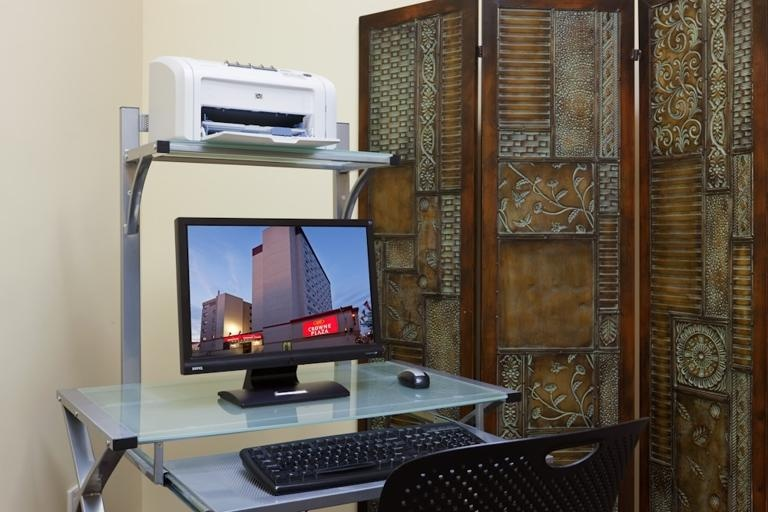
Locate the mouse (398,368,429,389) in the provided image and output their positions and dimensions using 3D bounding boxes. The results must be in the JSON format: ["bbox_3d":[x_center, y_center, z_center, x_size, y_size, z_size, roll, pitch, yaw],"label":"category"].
[{"bbox_3d":[0.113,0.469,2.540,0.056,0.037,0.103,0,1,-24],"label":"mouse"}]

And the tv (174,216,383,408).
[{"bbox_3d":[-0.391,0.197,2.410,0.596,0.552,0.218,2,-8,-27],"label":"tv"}]
